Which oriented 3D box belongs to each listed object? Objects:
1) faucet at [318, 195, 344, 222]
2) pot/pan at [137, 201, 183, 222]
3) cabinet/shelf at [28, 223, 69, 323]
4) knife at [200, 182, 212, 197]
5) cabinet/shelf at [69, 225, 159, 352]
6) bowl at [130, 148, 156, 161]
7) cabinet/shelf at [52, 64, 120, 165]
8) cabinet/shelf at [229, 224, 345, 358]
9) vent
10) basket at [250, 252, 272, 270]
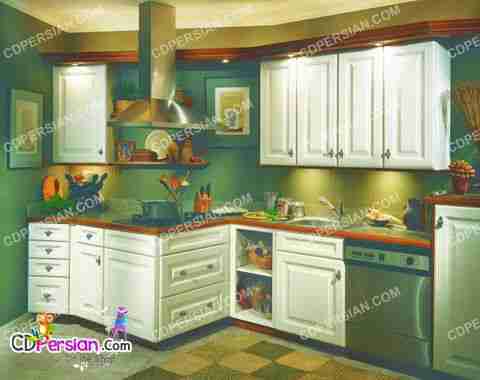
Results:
[{"bbox_3d":[0.920,0.176,4.037,0.240,0.242,0.332,1,6,11],"label":"faucet"},{"bbox_3d":[-0.750,0.187,3.899,0.329,0.183,0.437,-1,6,-5],"label":"pot/pan"},{"bbox_3d":[-1.934,0.785,4.091,0.442,0.894,0.109,1,5,11],"label":"cabinet/shelf"},{"bbox_3d":[-0.369,-0.004,4.345,0.105,0.166,0.072,1,2,-8],"label":"knife"},{"bbox_3d":[-1.126,0.901,3.711,1.107,0.924,0.571,0,-3,34],"label":"cabinet/shelf"},{"bbox_3d":[-1.045,-0.371,4.410,0.191,0.109,0.147,1,2,28],"label":"bowl"},{"bbox_3d":[-1.738,-0.810,4.733,0.797,1.076,0.779,0,3,-17],"label":"cabinet/shelf"},{"bbox_3d":[0.453,0.932,3.682,1.120,0.811,0.438,0,-3,36],"label":"cabinet/shelf"},{"bbox_3d":[-0.740,-1.209,4.435,1.237,1.407,1.154,2,4,42],"label":"vent"},{"bbox_3d":[0.208,0.686,3.962,0.178,0.078,0.174,1,-2,-8],"label":"basket"}]
